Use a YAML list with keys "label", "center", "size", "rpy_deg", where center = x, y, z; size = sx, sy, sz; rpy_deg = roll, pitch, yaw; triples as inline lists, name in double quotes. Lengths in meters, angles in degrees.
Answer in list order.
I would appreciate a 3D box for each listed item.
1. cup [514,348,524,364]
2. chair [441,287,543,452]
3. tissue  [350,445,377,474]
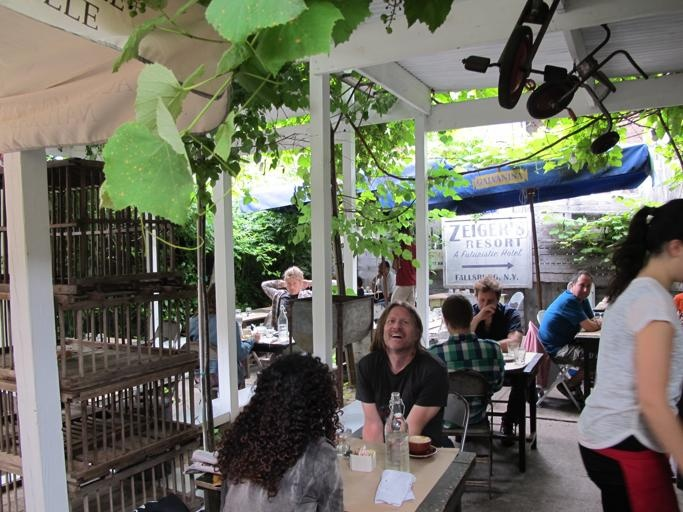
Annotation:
- label: "cup"
  center: [1.834, 1.038, 5.582]
  size: [0.116, 0.139, 0.122]
  rpy_deg: [0, -8, 0]
- label: "chair"
  center: [1.516, 1.183, 5.393]
  size: [1.041, 1.333, 1.596]
  rpy_deg: [-1, 3, 21]
- label: "tissue "
  center: [0.111, 1.065, 2.854]
  size: [0.098, 0.102, 0.100]
  rpy_deg: [0, -2, 9]
